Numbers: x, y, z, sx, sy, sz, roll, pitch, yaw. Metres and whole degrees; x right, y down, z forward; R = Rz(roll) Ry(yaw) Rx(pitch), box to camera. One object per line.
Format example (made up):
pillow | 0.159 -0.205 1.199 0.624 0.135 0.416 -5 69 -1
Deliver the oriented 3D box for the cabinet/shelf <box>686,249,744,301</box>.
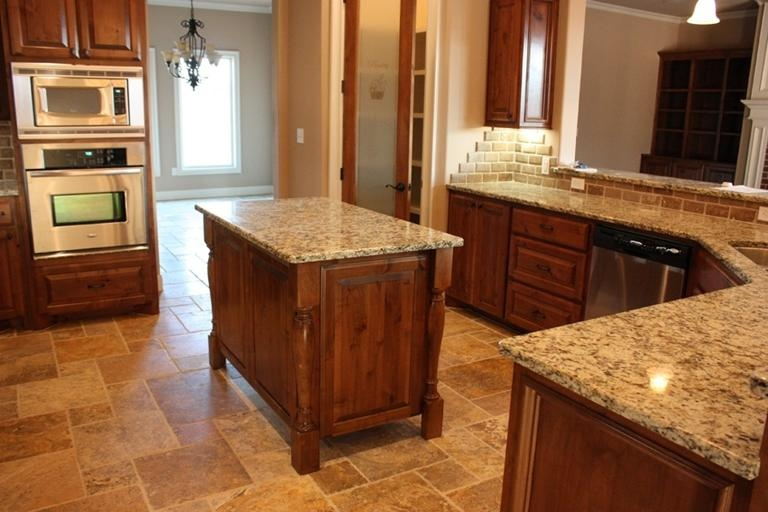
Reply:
cabinet/shelf | 1.876 0.105 3.201 0.122 0.208 0.218 -12 37 -8

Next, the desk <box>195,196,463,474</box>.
desk | -0.441 0.505 3.931 1.449 1.637 2.316 -9 18 -32

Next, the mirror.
mirror | 4.203 -2.696 9.189 2.363 2.668 0.729 -9 19 -20

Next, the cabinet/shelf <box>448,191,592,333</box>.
cabinet/shelf | 1.153 0.041 4.674 0.439 0.795 1.075 -7 21 -31

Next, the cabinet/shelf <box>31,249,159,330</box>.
cabinet/shelf | -2.491 0.238 4.904 1.014 0.605 0.641 -7 17 -30

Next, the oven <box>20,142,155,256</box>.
oven | -2.730 -0.546 4.964 0.747 0.950 1.032 14 17 27
